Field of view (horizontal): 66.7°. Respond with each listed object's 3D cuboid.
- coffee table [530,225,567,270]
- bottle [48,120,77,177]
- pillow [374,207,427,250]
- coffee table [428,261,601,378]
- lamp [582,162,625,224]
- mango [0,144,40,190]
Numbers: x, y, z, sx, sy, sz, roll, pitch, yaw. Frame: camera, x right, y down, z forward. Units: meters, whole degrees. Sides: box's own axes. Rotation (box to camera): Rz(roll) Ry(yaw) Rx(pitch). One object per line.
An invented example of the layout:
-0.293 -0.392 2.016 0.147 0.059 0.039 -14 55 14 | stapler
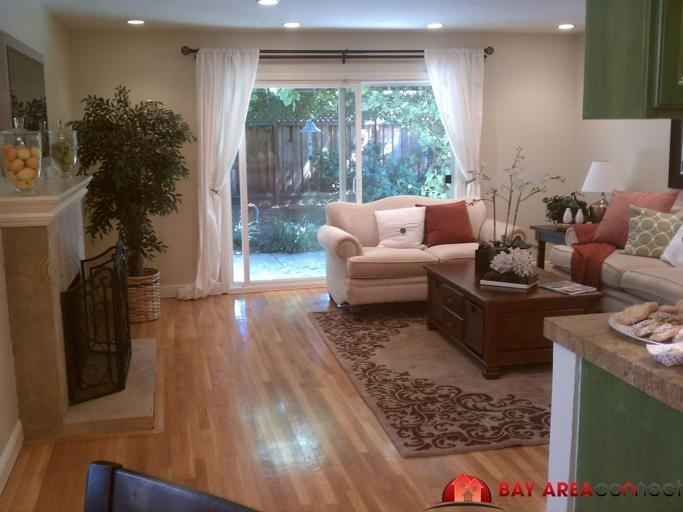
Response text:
2.228 -0.085 5.560 0.432 0.462 0.443 9 17 40 | coffee table
-1.793 -0.680 3.350 0.169 0.338 0.180 4 13 -1 | bottle
0.623 -0.270 5.377 0.398 0.365 0.153 -1 -26 -1 | pillow
1.103 0.167 3.809 0.753 0.548 1.168 -4 10 -14 | coffee table
2.734 -0.636 5.467 0.426 0.731 0.462 3 0 17 | lamp
-1.695 -0.470 2.801 0.205 0.240 0.202 -1 13 -12 | mango
